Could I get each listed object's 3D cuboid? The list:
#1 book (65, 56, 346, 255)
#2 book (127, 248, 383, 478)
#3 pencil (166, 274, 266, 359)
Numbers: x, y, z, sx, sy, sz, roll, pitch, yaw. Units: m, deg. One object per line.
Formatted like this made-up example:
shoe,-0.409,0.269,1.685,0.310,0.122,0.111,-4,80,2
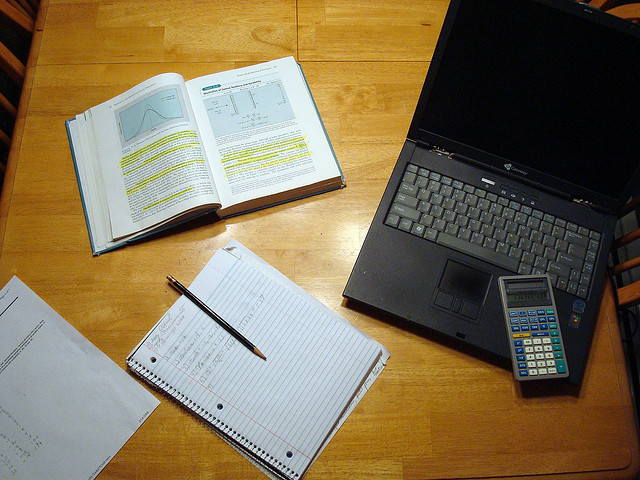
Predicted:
book,-0.248,-0.207,1.107,0.532,0.068,0.320,-19,78,-7
book,-0.122,0.222,0.992,0.382,0.057,0.282,31,69,10
pencil,-0.193,0.151,0.999,0.204,0.016,0.014,41,52,1
